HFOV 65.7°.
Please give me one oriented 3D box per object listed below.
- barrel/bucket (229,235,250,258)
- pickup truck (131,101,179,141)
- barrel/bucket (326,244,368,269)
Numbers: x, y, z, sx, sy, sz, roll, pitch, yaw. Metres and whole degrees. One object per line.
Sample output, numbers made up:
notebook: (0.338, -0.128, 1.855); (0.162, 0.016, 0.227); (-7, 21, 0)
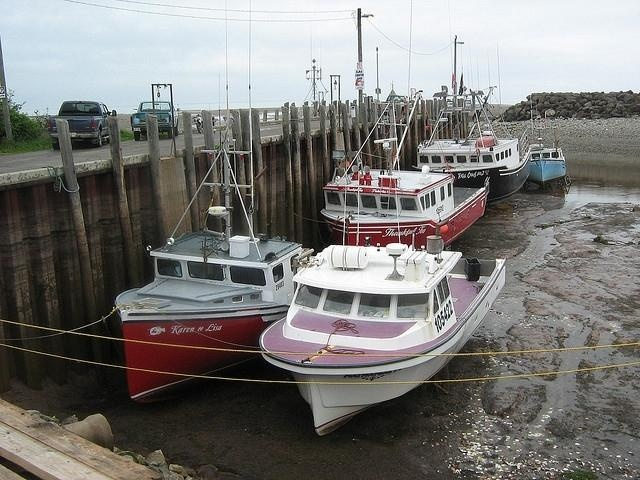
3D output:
barrel/bucket: (-1.510, 0.096, 9.307); (0.398, 0.350, 0.382); (0, 10, 0)
pickup truck: (-6.424, -4.501, 19.227); (1.528, 1.243, 2.981); (-5, 10, -15)
barrel/bucket: (0.549, 0.264, 8.968); (0.764, 0.417, 0.323); (2, 15, 19)
